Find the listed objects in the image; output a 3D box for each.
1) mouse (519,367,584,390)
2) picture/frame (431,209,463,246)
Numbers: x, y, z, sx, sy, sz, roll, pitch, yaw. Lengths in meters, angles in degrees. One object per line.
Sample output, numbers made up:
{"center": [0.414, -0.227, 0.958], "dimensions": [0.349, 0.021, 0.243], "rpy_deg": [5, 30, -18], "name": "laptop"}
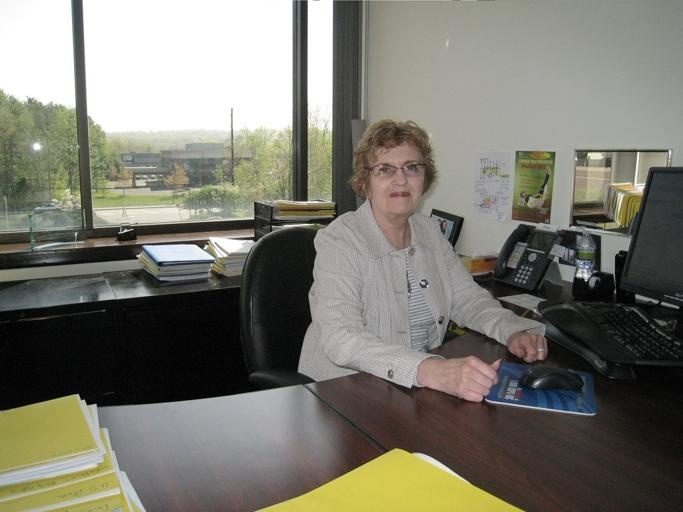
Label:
{"center": [0.534, 0.295, 1.160], "dimensions": [0.110, 0.035, 0.070], "rpy_deg": [-2, 8, -4], "name": "mouse"}
{"center": [0.529, -0.136, 2.479], "dimensions": [0.274, 0.212, 0.027], "rpy_deg": [-3, -7, -21], "name": "picture/frame"}
